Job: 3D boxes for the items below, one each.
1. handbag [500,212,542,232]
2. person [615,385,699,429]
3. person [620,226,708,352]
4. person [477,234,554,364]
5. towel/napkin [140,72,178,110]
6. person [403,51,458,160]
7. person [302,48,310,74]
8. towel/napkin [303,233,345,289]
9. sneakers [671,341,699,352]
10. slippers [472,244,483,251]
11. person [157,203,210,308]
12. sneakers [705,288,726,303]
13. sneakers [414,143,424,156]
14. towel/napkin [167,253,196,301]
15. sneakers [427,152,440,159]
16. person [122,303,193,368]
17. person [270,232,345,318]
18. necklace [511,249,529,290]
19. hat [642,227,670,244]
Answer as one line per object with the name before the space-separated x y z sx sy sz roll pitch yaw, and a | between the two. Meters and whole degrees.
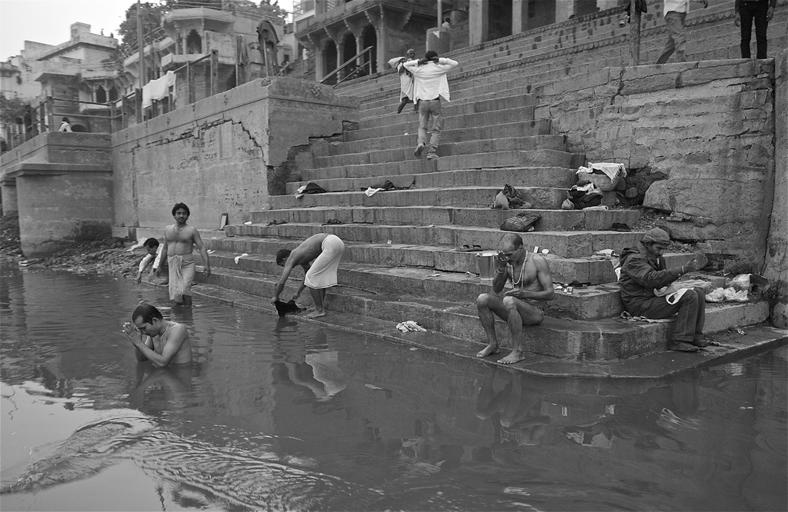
handbag | 1.909 -0.519 11.887 0.519 0.253 0.388 6 15 38
person | 3.076 1.776 9.230 1.022 0.232 0.889 0 11 15
person | 3.585 0.445 10.383 1.105 1.584 0.432 5 15 34
person | 1.562 0.529 10.194 1.008 1.631 0.886 -2 13 10
towel/napkin | -6.533 -4.560 21.122 0.919 0.865 2.949 -7 12 -17
person | 0.640 -2.875 14.640 0.833 2.001 1.052 -4 12 1
person | -3.706 -8.096 31.935 0.260 0.950 0.465 -10 14 -23
towel/napkin | -1.137 0.103 12.093 0.596 0.871 0.823 8 7 9
sneakers | 3.826 1.202 10.221 0.337 0.218 0.124 -6 -4 32
slippers | 1.261 -0.131 12.049 0.114 0.026 0.115 -5 18 -8
person | -3.718 0.124 13.435 0.968 2.032 0.625 2 7 20
sneakers | 4.653 0.580 11.205 0.305 0.106 0.226 -2 36 33
sneakers | 0.448 -2.007 14.572 0.217 0.191 0.476 2 16 2
towel/napkin | -3.721 0.374 13.345 0.519 0.739 0.322 -3 -10 -2
sneakers | 0.680 -1.867 14.355 0.201 0.128 0.222 -3 11 2
person | -3.164 1.126 10.315 0.858 0.901 0.722 -9 12 -14
person | -1.342 0.336 12.292 1.354 1.197 0.904 -9 -7 18
necklace | 1.663 0.201 10.296 0.102 0.449 0.259 5 2 -31
hat | 3.527 -0.277 10.448 0.326 0.195 0.231 -1 5 10
